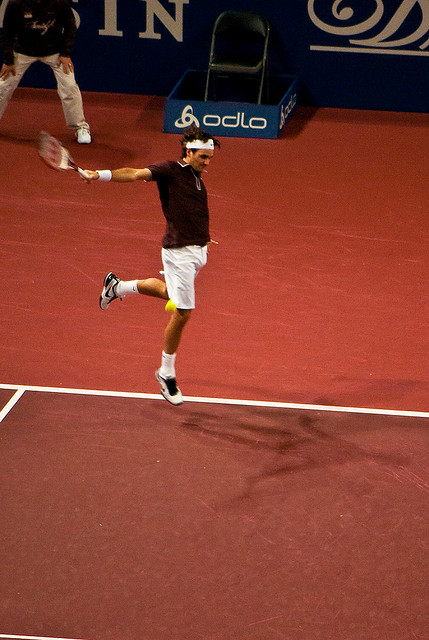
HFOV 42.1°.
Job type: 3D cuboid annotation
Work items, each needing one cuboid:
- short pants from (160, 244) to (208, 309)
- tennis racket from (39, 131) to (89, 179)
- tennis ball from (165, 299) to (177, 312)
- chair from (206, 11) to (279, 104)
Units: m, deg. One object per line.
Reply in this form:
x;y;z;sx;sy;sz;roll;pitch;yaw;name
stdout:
-0.191;-0.265;3.305;0.255;0.364;0.273;5;28;-5;short pants
-0.898;-0.933;3.165;0.044;0.188;0.502;2;33;-47;tennis racket
-0.266;-0.082;3.434;0.073;0.079;0.078;2;64;-5;tennis ball
0.414;-3.865;8.246;0.927;1.208;1.273;7;28;-2;chair
